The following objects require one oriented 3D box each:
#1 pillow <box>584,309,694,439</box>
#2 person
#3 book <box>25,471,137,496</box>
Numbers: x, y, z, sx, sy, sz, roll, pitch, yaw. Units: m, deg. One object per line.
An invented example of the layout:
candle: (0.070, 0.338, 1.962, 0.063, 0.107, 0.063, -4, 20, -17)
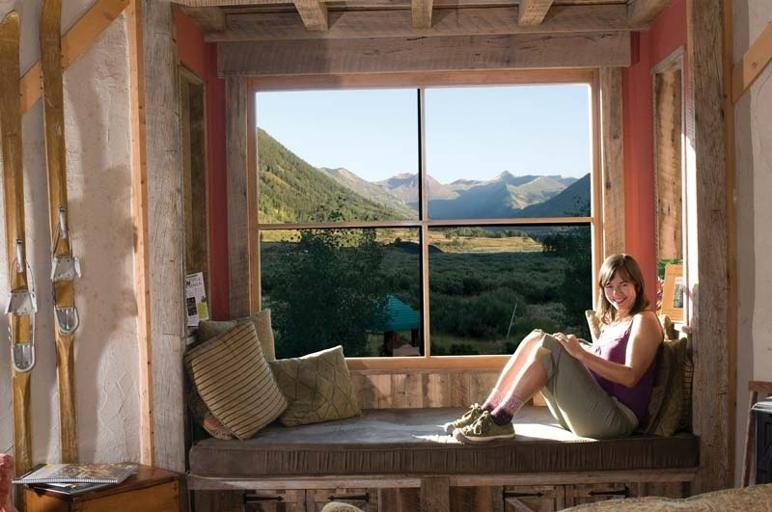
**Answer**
pillow: (1.784, 0.874, 5.691, 0.194, 0.576, 0.555, 1, -1, -34)
person: (1.187, 0.601, 5.829, 1.472, 1.224, 0.749, 3, -1, -19)
book: (-1.961, 1.432, 5.298, 0.568, 0.068, 0.144, -2, -2, 0)
